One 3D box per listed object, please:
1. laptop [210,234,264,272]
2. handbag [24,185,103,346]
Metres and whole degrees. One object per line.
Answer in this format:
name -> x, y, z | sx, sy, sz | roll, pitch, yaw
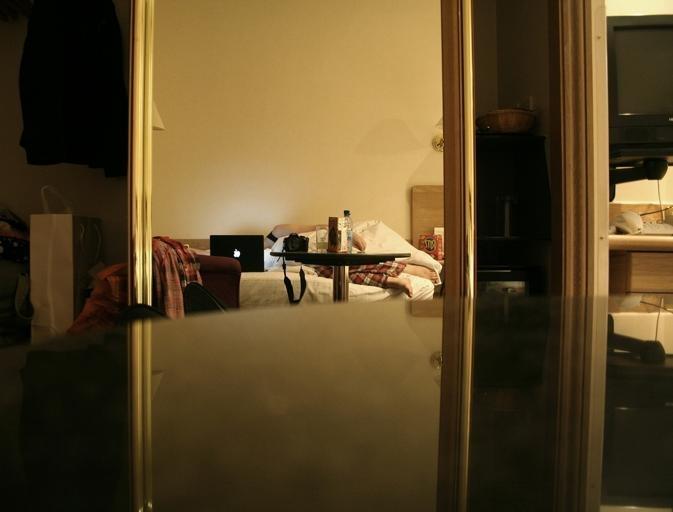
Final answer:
laptop -> -0.385, 0.024, 2.326 | 0.208, 0.160, 0.169 | 1, -22, -17
handbag -> -1.115, 0.010, 2.526 | 0.250, 0.564, 0.457 | -2, 7, -16
